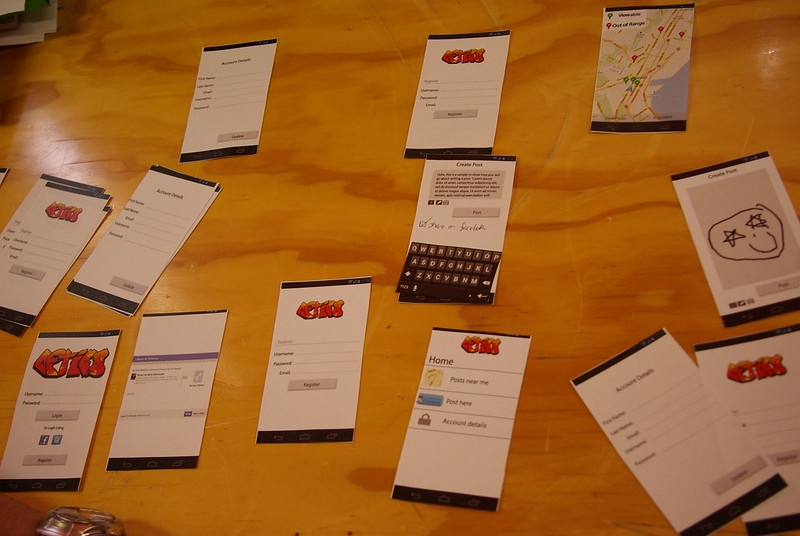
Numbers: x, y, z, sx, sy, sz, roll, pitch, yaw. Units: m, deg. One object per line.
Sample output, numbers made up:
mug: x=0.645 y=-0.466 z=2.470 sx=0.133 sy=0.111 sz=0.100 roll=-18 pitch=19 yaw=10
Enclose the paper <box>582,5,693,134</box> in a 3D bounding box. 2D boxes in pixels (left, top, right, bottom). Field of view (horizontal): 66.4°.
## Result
paper: x=0.691 y=-0.535 z=1.740 sx=0.362 sy=0.033 sz=0.491 roll=3 pitch=71 yaw=24
